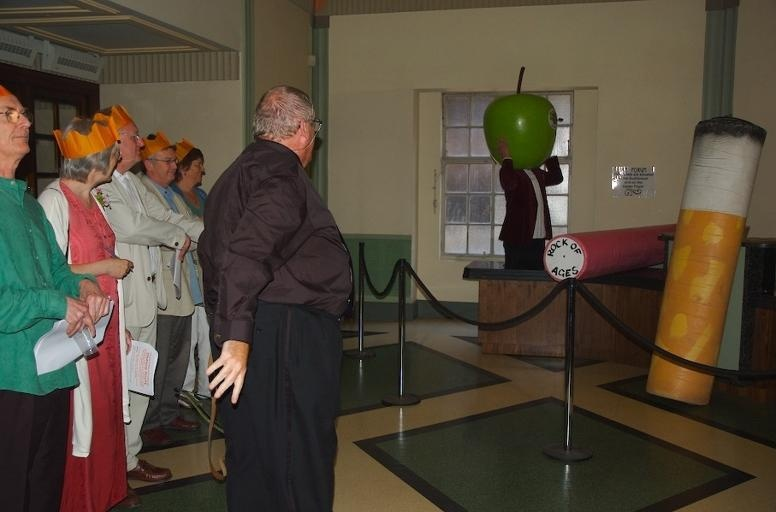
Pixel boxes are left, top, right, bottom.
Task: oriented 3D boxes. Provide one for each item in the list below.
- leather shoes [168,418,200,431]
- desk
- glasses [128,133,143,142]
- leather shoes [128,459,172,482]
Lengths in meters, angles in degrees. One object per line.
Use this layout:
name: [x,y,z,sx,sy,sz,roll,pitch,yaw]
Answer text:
leather shoes: [-1.495,1.239,4.463,0.237,0.099,0.090,0,5,4]
desk: [1.651,0.429,5.745,1.618,1.016,1.585,0,-1,-43]
glasses: [-1.597,-0.756,3.799,0.081,0.026,0.081,5,9,-1]
leather shoes: [-1.510,1.383,3.858,0.275,0.103,0.113,1,8,0]
